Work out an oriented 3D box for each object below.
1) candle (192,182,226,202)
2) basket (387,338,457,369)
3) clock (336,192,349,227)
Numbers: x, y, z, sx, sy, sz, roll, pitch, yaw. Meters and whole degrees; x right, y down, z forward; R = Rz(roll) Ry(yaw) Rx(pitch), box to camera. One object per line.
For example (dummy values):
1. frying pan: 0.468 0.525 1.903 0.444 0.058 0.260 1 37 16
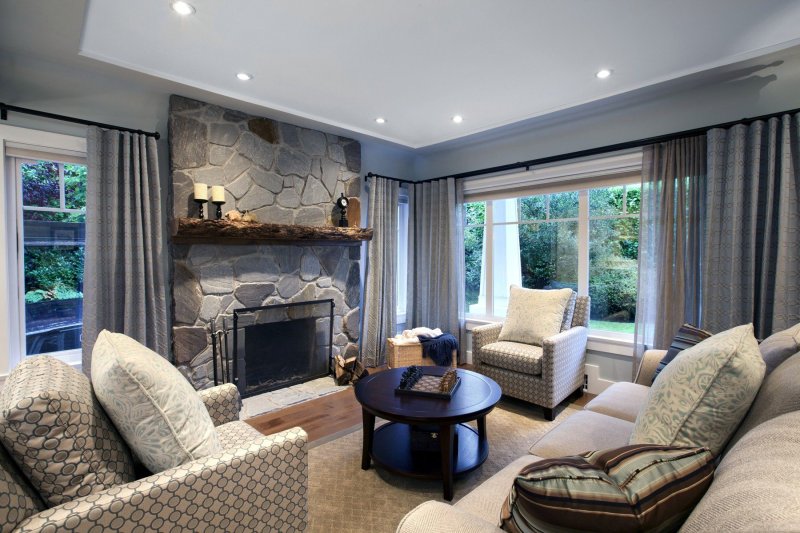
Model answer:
1. candle: -1.774 -0.687 4.778 0.088 0.124 0.237 0 -1 33
2. basket: 0.120 0.973 5.853 0.537 0.259 0.392 0 4 5
3. clock: -0.656 -0.639 5.838 0.143 0.381 0.208 -2 4 -4
